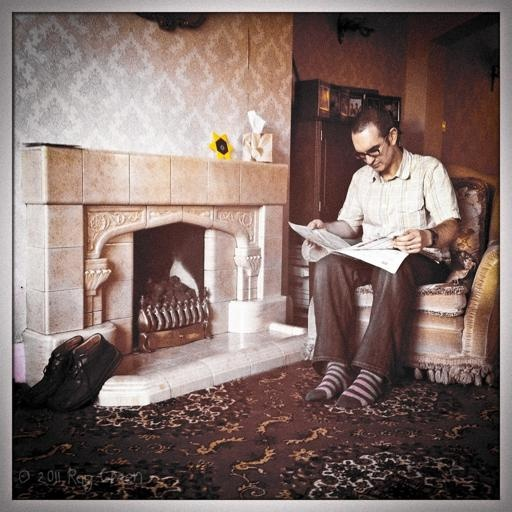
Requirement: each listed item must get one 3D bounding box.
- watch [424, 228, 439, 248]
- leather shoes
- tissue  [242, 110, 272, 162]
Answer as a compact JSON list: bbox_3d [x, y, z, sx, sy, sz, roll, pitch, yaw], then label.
[{"bbox_3d":[0.705,-0.074,1.891,0.054,0.086,0.079,-1,5,-19],"label":"watch"},{"bbox_3d":[-0.695,0.465,1.869,0.227,0.126,0.319,15,47,21],"label":"leather shoes"},{"bbox_3d":[0.022,-0.713,2.820,0.263,0.309,0.186,-6,11,-30],"label":"tissue "}]
